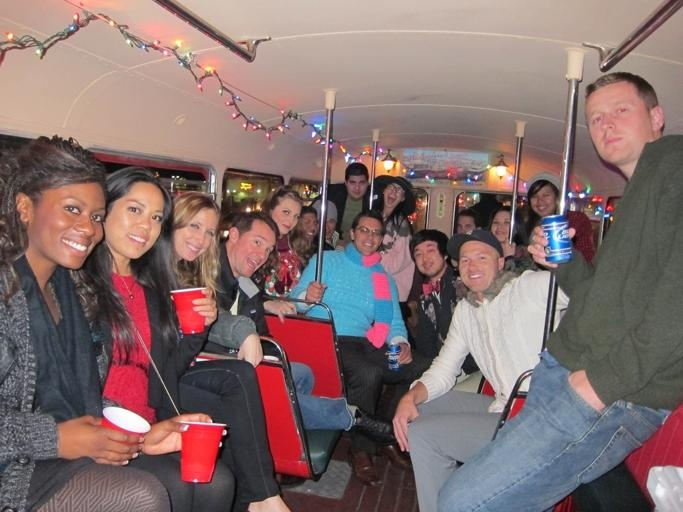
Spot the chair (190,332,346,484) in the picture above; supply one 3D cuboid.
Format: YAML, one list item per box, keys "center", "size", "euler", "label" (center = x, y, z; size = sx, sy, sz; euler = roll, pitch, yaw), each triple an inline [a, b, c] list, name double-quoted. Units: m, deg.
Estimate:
- center: [-0.473, 1.151, 3.811]
  size: [0.886, 1.041, 0.915]
  euler: [-29, -36, 28]
  label: "chair"

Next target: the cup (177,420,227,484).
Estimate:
- center: [-0.680, 0.974, 2.471]
  size: [0.303, 0.273, 0.294]
  euler: [6, -7, 1]
  label: "cup"

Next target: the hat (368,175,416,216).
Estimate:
- center: [0.845, -0.937, 7.203]
  size: [0.634, 0.633, 0.183]
  euler: [-5, 50, 37]
  label: "hat"

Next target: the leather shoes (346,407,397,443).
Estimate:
- center: [0.285, 1.388, 4.043]
  size: [0.515, 0.212, 0.172]
  euler: [15, 32, -3]
  label: "leather shoes"

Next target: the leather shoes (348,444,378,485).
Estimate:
- center: [0.188, 1.745, 4.041]
  size: [0.173, 0.247, 0.348]
  euler: [0, 11, -19]
  label: "leather shoes"

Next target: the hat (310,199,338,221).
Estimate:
- center: [-0.195, -0.649, 6.830]
  size: [0.459, 0.397, 0.328]
  euler: [-3, 11, -1]
  label: "hat"
